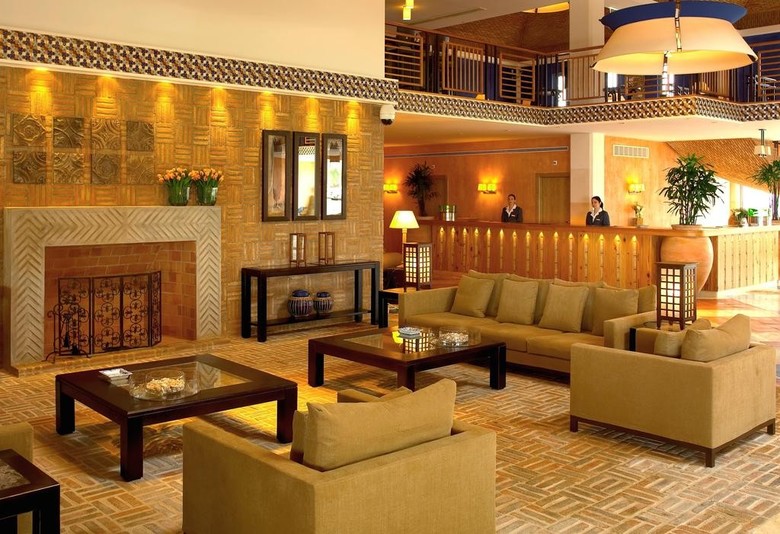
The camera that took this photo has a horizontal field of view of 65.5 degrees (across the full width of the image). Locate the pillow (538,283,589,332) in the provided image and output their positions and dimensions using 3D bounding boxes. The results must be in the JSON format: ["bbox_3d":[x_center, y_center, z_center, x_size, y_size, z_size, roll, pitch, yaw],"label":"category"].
[{"bbox_3d":[2.178,0.516,7.662,0.600,0.560,0.241,15,1,32],"label":"pillow"}]

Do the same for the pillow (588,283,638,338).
[{"bbox_3d":[2.574,0.530,7.105,0.223,0.569,0.606,12,-5,-33],"label":"pillow"}]

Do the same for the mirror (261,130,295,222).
[{"bbox_3d":[-1.852,-1.490,9.912,0.114,1.457,0.595,7,10,42],"label":"mirror"}]

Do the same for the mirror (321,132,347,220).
[{"bbox_3d":[-0.979,-1.569,10.526,0.487,1.450,0.068,-5,9,-33],"label":"mirror"}]

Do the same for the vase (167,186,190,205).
[{"bbox_3d":[-3.042,-1.007,8.766,0.274,0.279,0.276,-6,-6,36],"label":"vase"}]

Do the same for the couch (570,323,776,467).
[{"bbox_3d":[2.641,1.015,5.823,1.322,1.184,1.412,-3,5,-43],"label":"couch"}]

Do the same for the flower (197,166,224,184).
[{"bbox_3d":[-2.709,-1.385,9.072,0.295,0.195,0.284,4,-8,-39],"label":"flower"}]

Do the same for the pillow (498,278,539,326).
[{"bbox_3d":[1.701,0.486,8.077,0.538,0.551,0.193,10,-8,42],"label":"pillow"}]

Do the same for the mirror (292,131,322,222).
[{"bbox_3d":[-1.418,-1.531,10.245,0.548,1.454,0.070,-6,9,-35],"label":"mirror"}]

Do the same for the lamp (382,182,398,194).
[{"bbox_3d":[-0.026,-2.469,18.993,0.565,0.337,0.141,8,11,43],"label":"lamp"}]

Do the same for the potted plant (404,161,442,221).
[{"bbox_3d":[0.888,-2.336,18.207,0.570,1.569,0.971,-8,11,-44],"label":"potted plant"}]

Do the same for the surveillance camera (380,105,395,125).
[{"bbox_3d":[-0.061,-2.737,10.900,0.254,0.315,0.337,0,10,-2],"label":"surveillance camera"}]

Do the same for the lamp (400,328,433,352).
[{"bbox_3d":[0.297,0.861,7.171,0.235,0.325,0.244,-1,2,41],"label":"lamp"}]

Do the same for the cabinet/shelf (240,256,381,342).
[{"bbox_3d":[-1.321,0.507,10.160,2.314,1.170,0.616,-6,10,-37],"label":"cabinet/shelf"}]

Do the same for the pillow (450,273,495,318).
[{"bbox_3d":[1.159,0.425,8.538,0.520,0.440,0.278,-12,5,45],"label":"pillow"}]

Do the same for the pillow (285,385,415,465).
[{"bbox_3d":[-0.396,0.971,4.067,0.714,0.618,0.688,0,1,-26],"label":"pillow"}]

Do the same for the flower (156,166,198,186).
[{"bbox_3d":[-3.087,-1.294,8.781,0.341,0.190,0.333,0,-5,-44],"label":"flower"}]
